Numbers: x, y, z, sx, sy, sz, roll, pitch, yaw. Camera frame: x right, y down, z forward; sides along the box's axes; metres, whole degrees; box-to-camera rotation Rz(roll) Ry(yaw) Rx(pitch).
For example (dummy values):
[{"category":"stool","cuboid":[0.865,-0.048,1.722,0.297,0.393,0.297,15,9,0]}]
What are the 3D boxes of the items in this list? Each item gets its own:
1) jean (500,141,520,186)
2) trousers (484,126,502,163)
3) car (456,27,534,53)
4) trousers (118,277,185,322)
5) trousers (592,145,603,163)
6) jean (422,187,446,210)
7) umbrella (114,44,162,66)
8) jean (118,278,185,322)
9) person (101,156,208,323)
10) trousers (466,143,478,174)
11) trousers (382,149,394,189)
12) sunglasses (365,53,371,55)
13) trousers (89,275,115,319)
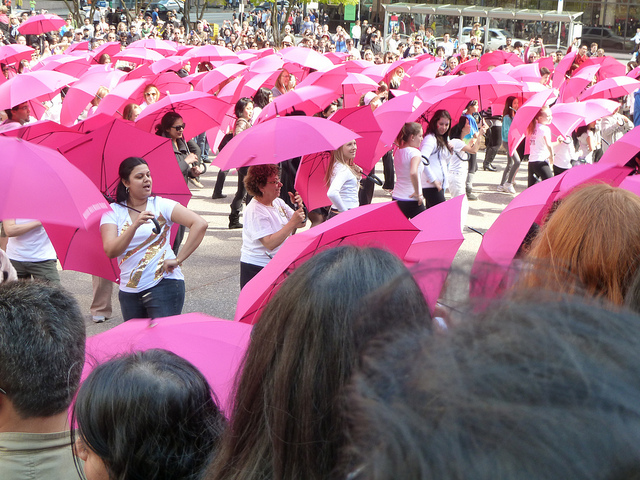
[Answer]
[{"category":"jean","cuboid":[3.949,-1.493,11.587,0.339,0.861,0.746,4,16,18]},{"category":"trousers","cuboid":[4.132,-2.281,13.377,0.242,0.337,0.846,-7,-8,2]},{"category":"car","cuboid":[9.710,-11.295,31.388,4.096,1.285,2.403,15,22,43]},{"category":"trousers","cuboid":[-1.393,0.612,4.649,0.516,0.540,0.333,-6,-4,15]},{"category":"trousers","cuboid":[6.140,-1.911,12.356,0.190,0.450,0.897,6,17,25]},{"category":"jean","cuboid":[1.693,-0.646,8.394,0.286,0.332,0.330,5,16,21]},{"category":"umbrella","cuboid":[-4.820,-4.869,14.858,1.283,0.767,1.433,-4,18,-8]},{"category":"jean","cuboid":[-1.398,0.515,4.688,0.528,0.554,0.341,-5,-3,15]},{"category":"person","cuboid":[-1.419,0.374,4.700,0.714,2.131,0.610,1,19,-9]},{"category":"trousers","cuboid":[2.914,-1.566,10.782,0.244,0.252,0.861,-18,1,15]},{"category":"trousers","cuboid":[1.379,-1.389,11.272,0.217,0.840,0.546,1,15,7]},{"category":"sunglasses","cuboid":[1.718,-6.653,20.102,0.163,0.046,0.098,-5,17,-14]},{"category":"trousers","cuboid":[-2.484,0.645,6.297,0.252,0.522,0.272,-7,16,-24]}]
